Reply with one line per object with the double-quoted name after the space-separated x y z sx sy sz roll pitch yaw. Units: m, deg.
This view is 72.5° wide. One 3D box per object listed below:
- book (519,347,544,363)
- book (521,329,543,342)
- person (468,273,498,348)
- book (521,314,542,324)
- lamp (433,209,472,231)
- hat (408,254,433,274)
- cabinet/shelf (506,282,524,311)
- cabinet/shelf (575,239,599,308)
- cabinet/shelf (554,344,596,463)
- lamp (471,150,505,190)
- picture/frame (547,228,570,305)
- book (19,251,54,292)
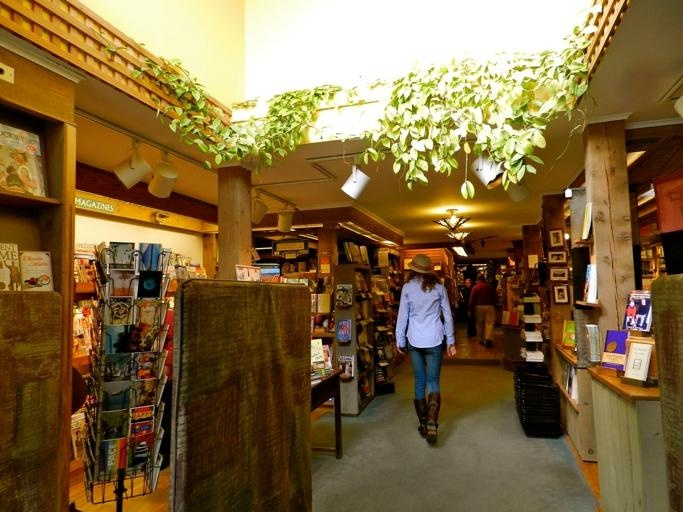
2.151 1.137 5.267 0.207 0.141 0.250 -1 -2 13 "book"
2.244 0.949 5.489 0.193 0.140 0.250 -2 -2 21 "book"
3.278 1.249 10.808 0.569 1.660 0.765 -1 -2 15 "person"
2.283 0.752 5.555 0.177 0.066 0.274 0 0 9 "book"
2.020 -0.668 8.424 0.398 0.218 0.412 0 -12 3 "lamp"
0.842 0.076 5.074 0.192 0.087 0.223 0 22 -9 "hat"
3.669 0.851 9.871 0.230 0.705 0.749 0 -3 15 "cabinet/shelf"
2.055 0.150 3.901 0.152 0.547 0.525 -2 -7 14 "cabinet/shelf"
2.081 1.347 4.153 0.180 0.602 1.128 -2 -1 14 "cabinet/shelf"
1.225 -0.722 3.914 0.229 0.215 0.276 -37 -8 16 "lamp"
2.778 0.129 5.998 0.249 0.965 0.231 -1 -2 13 "picture/frame"
-1.632 0.085 2.493 0.166 0.297 0.030 14 -29 -39 "book"
